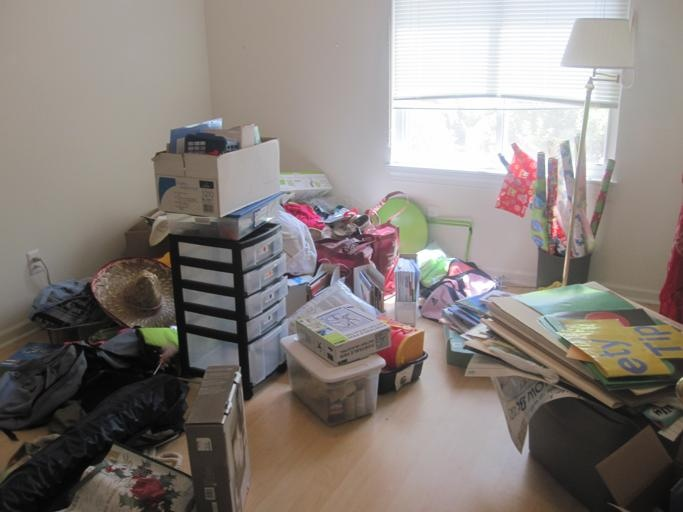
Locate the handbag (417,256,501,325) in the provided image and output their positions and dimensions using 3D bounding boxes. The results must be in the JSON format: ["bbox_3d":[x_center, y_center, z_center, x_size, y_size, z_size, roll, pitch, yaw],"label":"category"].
[{"bbox_3d":[0.737,0.186,3.248,0.408,0.147,0.338,-26,38,-36],"label":"handbag"}]

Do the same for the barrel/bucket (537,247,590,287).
[{"bbox_3d":[1.346,0.055,3.235,0.259,0.278,0.249,-1,18,0],"label":"barrel/bucket"}]

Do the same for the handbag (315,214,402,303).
[{"bbox_3d":[0.091,0.061,3.577,0.752,0.443,0.709,-7,-5,-7],"label":"handbag"}]
